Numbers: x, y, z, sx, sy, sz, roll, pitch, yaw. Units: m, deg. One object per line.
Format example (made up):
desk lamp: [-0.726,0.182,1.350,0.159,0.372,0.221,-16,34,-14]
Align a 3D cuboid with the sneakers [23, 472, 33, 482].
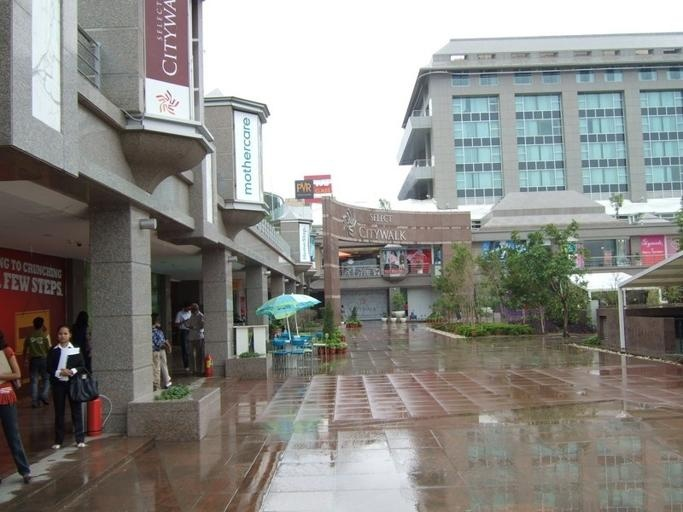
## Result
sneakers: [-4.513,3.230,8.818,0.084,0.104,0.141,1,-14,-11]

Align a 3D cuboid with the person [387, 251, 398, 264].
person: [5.053,0.154,60.501,1.018,1.222,0.253,-2,-5,-23]

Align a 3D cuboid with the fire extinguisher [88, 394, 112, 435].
fire extinguisher: [-4.380,2.904,11.087,0.433,0.717,0.252,-2,-5,-23]

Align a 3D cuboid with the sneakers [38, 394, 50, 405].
sneakers: [-6.733,3.304,13.849,0.422,0.180,0.149,-4,-4,37]

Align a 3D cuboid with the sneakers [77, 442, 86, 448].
sneakers: [-4.407,3.222,10.387,0.137,0.090,0.216,-2,-6,-24]

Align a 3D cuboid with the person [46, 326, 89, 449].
person: [-4.733,2.266,10.600,0.582,2.075,0.918,-2,-6,-26]

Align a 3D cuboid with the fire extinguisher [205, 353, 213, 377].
fire extinguisher: [-3.866,3.237,17.980,0.237,0.652,0.210,-2,-5,-21]
